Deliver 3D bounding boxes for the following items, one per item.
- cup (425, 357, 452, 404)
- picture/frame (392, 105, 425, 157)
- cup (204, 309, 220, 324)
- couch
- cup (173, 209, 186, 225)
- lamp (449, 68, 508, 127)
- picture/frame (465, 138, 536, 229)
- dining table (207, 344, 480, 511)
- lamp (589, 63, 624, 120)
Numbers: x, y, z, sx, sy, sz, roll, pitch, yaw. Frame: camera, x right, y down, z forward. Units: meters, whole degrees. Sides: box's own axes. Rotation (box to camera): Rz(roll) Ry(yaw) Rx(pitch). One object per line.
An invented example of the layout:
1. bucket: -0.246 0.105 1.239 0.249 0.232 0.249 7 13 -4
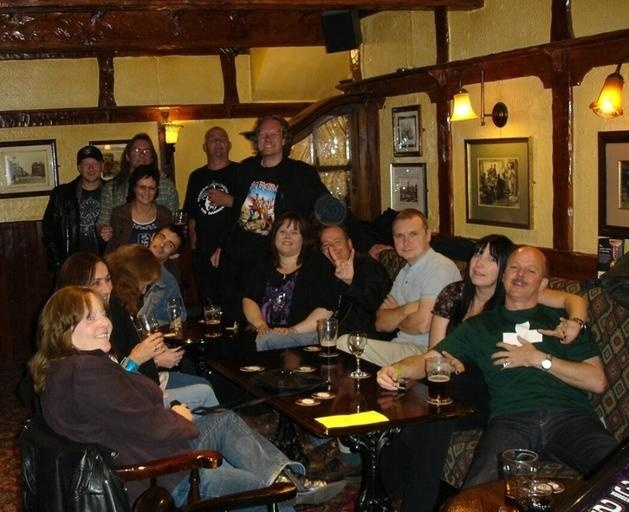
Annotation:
1. cup: 0.581 0.578 2.434 0.117 0.201 0.161 0 4 14
2. picture/frame: 1.038 -1.373 5.678 0.063 0.620 0.681 -6 6 -26
3. cup: -0.751 0.448 3.831 0.113 0.103 0.117 0 -6 0
4. couch: 1.064 0.497 2.735 0.924 1.077 0.732 0 4 10
5. cup: -1.403 -0.415 5.446 0.163 0.116 0.148 2 -1 0
6. lamp: 1.390 -1.384 4.624 0.391 0.537 0.535 -2 4 -16
7. picture/frame: 1.643 -0.649 4.541 0.074 0.803 0.903 -5 7 -29
8. dining table: 0.168 0.886 2.691 0.530 0.288 1.169 0 5 -16
9. lamp: 1.948 -1.093 3.414 0.225 0.337 0.159 -1 4 -3
